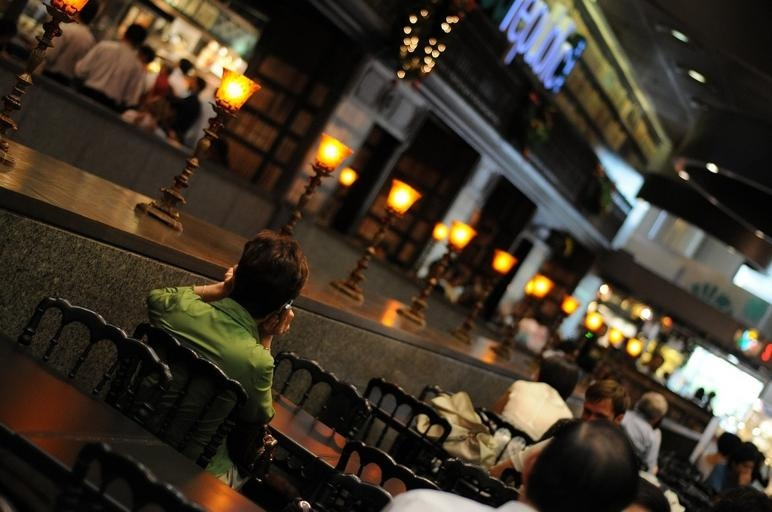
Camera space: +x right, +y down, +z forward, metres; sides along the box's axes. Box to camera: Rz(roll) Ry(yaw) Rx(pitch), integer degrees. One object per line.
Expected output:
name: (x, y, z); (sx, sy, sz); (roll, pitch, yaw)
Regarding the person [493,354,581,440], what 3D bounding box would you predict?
person: (1.581, 1.400, 6.525); (0.610, 0.834, 0.326); (34, -10, -1)
